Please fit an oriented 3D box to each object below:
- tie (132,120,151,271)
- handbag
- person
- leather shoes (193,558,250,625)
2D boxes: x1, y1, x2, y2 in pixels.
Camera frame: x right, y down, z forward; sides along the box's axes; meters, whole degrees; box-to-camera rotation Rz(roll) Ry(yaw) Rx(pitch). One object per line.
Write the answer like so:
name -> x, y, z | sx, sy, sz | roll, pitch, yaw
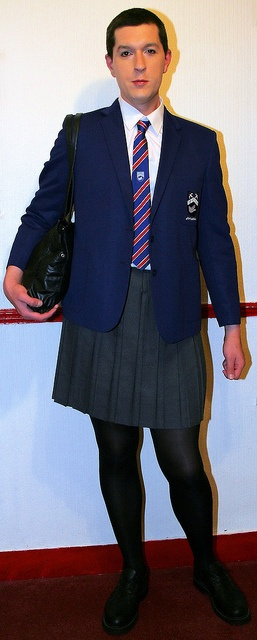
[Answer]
tie -> 0.029, -0.296, 1.009 | 0.046, 0.351, 0.034 | -1, 3, -4
handbag -> -0.201, -0.138, 1.027 | 0.077, 0.235, 0.187 | 16, -2, 1
person -> 0.010, 0.063, 1.111 | 0.638, 1.558, 0.276 | -3, 4, -24
leather shoes -> 0.263, 0.748, 1.247 | 0.067, 0.112, 0.210 | -11, 12, -11
